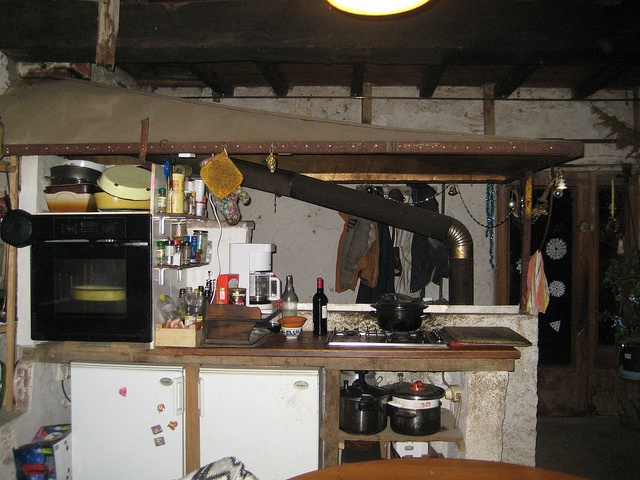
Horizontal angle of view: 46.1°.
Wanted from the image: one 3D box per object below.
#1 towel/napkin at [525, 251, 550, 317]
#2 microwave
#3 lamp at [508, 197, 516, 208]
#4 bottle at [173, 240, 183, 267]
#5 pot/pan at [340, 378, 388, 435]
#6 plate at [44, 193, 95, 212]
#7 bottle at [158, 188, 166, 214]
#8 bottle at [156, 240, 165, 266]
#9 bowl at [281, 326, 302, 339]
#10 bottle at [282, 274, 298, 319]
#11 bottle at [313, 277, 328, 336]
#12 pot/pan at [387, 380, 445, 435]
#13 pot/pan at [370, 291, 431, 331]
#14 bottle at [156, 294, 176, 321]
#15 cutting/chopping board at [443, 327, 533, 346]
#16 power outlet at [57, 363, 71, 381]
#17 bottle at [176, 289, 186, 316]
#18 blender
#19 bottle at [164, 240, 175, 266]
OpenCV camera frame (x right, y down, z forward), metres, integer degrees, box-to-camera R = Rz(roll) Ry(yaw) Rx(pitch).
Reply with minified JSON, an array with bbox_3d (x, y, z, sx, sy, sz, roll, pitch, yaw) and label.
[{"bbox_3d":[1.780,0.343,6.158,0.152,0.529,0.171,2,-2,-3],"label":"towel/napkin"},{"bbox_3d":[-1.790,0.237,5.996,0.880,1.016,0.691,1,8,-12],"label":"microwave"},{"bbox_3d":[1.629,-0.311,6.402,0.076,0.036,0.103,-3,32,13],"label":"lamp"},{"bbox_3d":[-1.091,0.097,5.804,0.029,0.199,0.088,1,-3,34],"label":"bottle"},{"bbox_3d":[0.331,1.246,5.704,0.351,0.504,0.582,-1,2,-3],"label":"pot/pan"},{"bbox_3d":[-1.914,-0.289,5.770,0.231,0.099,0.181,1,0,-5],"label":"plate"},{"bbox_3d":[-1.199,-0.302,5.756,0.082,0.185,0.030,4,-3,-34],"label":"bottle"},{"bbox_3d":[-1.213,0.100,5.740,0.070,0.188,0.037,3,-2,-20],"label":"bottle"},{"bbox_3d":[-0.228,0.720,5.924,0.157,0.100,0.174,3,-2,-3],"label":"bowl"},{"bbox_3d":[-0.241,0.445,5.984,0.131,0.328,0.231,2,-2,-2],"label":"bottle"},{"bbox_3d":[0.004,0.528,5.939,0.118,0.448,0.271,2,-2,1],"label":"bottle"},{"bbox_3d":[0.725,1.274,5.705,0.354,0.298,0.446,1,-3,-14],"label":"pot/pan"},{"bbox_3d":[0.627,0.574,5.960,0.425,0.295,0.371,0,4,-4],"label":"pot/pan"},{"bbox_3d":[-1.195,0.526,5.819,0.118,0.121,0.205,-22,-14,0],"label":"bottle"},{"bbox_3d":[1.264,0.752,5.878,0.653,0.129,0.400,2,-2,1],"label":"cutting/chopping board"},{"bbox_3d":[-2.012,1.043,5.924,0.096,0.135,0.252,3,-2,-19],"label":"power outlet"},{"bbox_3d":[-1.076,0.481,5.870,0.052,0.205,0.160,3,-2,-10],"label":"bottle"},{"bbox_3d":[-0.556,0.324,6.409,0.437,0.601,0.277,1,-2,2],"label":"blender"},{"bbox_3d":[-1.153,0.099,5.766,0.066,0.182,0.027,2,-2,1],"label":"bottle"}]
